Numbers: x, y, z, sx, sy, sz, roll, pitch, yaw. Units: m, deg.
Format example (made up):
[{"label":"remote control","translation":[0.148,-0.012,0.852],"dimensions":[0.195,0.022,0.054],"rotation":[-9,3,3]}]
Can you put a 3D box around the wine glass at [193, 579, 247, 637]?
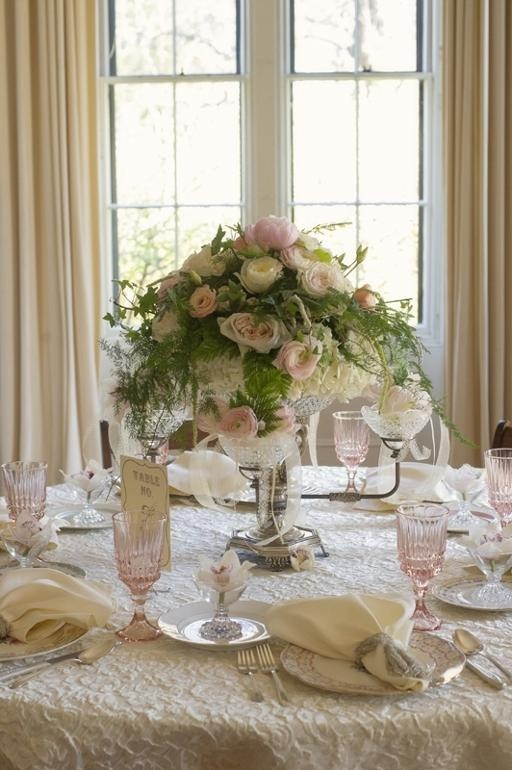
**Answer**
[{"label":"wine glass","translation":[-0.048,0.303,0.971],"dimensions":[0.068,0.070,0.066],"rotation":[1,-3,-3]}]

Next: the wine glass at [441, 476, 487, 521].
[{"label":"wine glass","translation":[0.468,0.253,1.590],"dimensions":[0.098,0.092,0.089],"rotation":[-3,1,18]}]

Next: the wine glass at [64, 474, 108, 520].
[{"label":"wine glass","translation":[-0.359,0.251,1.599],"dimensions":[0.100,0.097,0.101],"rotation":[2,-4,10]}]

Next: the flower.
[{"label":"flower","translation":[0.000,-0.074,1.261],"dimensions":[0.494,0.323,0.493],"rotation":[3,4,30]}]
